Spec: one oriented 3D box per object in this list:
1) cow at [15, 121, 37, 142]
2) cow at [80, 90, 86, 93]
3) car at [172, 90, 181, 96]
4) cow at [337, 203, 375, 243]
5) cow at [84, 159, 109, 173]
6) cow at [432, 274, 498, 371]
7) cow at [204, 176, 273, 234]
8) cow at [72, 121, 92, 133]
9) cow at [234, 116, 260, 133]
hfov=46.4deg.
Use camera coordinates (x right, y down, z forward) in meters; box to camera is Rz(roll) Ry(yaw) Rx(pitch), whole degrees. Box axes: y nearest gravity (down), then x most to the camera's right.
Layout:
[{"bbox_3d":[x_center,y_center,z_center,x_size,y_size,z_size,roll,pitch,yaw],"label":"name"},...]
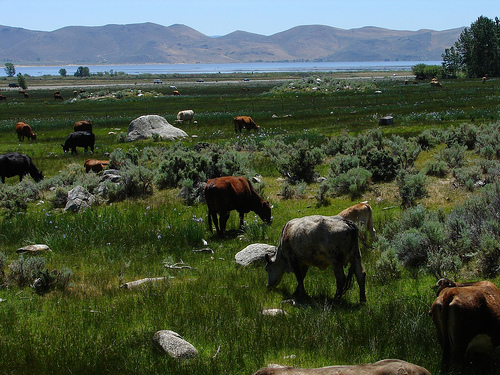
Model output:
[{"bbox_3d":[-19.462,-5.019,50.458,0.948,1.814,2.846,-7,22,-41],"label":"cow"},{"bbox_3d":[-36.597,-21.081,127.946,1.110,0.399,0.969,-1,4,-21],"label":"cow"},{"bbox_3d":[-15.084,-19.226,118.896,1.146,0.716,9.016,-6,11,-7],"label":"car"},{"bbox_3d":[3.795,1.417,21.584,2.129,1.412,0.573,0,-10,-37],"label":"cow"},{"bbox_3d":[-9.080,-1.216,34.378,1.427,0.999,0.664,1,8,-5],"label":"cow"},{"bbox_3d":[5.233,3.392,14.170,1.404,1.943,0.680,-5,8,-8],"label":"cow"},{"bbox_3d":[-0.364,0.727,23.509,2.797,2.306,0.872,5,-1,-29],"label":"cow"},{"bbox_3d":[-14.054,-5.064,48.858,1.278,0.835,1.832,-5,10,-5],"label":"cow"},{"bbox_3d":[-0.663,-5.723,51.796,2.645,1.890,1.044,-3,20,-12],"label":"cow"}]
